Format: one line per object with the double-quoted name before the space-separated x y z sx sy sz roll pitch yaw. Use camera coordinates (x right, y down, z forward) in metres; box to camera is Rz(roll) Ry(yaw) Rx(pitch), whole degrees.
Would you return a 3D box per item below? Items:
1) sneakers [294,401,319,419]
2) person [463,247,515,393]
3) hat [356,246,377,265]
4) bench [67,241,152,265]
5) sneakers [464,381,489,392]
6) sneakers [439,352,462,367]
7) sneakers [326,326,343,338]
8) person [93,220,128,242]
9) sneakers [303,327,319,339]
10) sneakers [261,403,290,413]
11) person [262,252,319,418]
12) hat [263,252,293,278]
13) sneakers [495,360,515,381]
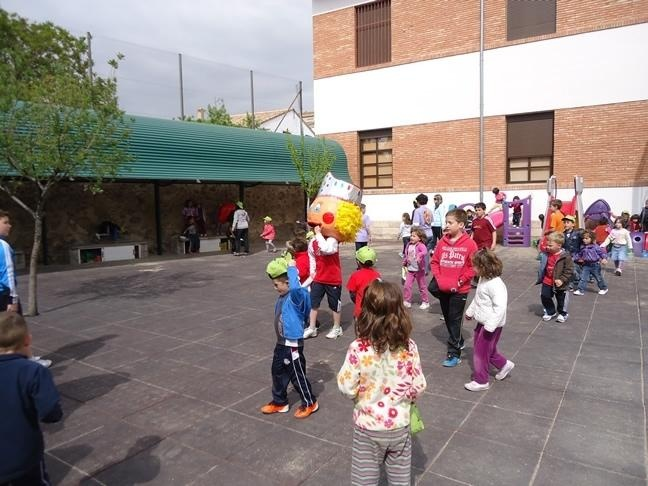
"sneakers" -0.187 1.787 4.884 0.242 0.099 0.118 0 2 -40
"person" 2.000 0.880 5.457 0.549 1.643 0.741 1 5 24
"hat" 0.567 0.149 6.115 0.230 0.225 0.320 0 5 14
"bench" -7.453 0.313 15.759 0.841 0.579 2.473 3 6 37
"sneakers" 1.795 1.665 5.284 0.250 0.105 0.110 1 -1 2
"sneakers" 1.695 1.546 5.997 0.107 0.137 0.303 -2 -3 38
"sneakers" 0.164 1.405 7.156 0.118 0.142 0.327 -4 -8 27
"person" -7.870 -0.442 16.452 0.933 0.791 0.345 -3 5 -25
"sneakers" -0.212 1.400 7.137 0.110 0.117 0.270 -4 -5 34
"sneakers" -0.537 1.788 4.953 0.298 0.133 0.112 5 3 -4
"person" -0.375 0.992 4.831 0.611 1.703 0.314 -1 5 0
"hat" -0.471 0.255 4.788 0.262 0.225 0.218 -4 5 -33
"sneakers" 2.207 1.553 5.514 0.101 0.244 0.104 38 10 -13
